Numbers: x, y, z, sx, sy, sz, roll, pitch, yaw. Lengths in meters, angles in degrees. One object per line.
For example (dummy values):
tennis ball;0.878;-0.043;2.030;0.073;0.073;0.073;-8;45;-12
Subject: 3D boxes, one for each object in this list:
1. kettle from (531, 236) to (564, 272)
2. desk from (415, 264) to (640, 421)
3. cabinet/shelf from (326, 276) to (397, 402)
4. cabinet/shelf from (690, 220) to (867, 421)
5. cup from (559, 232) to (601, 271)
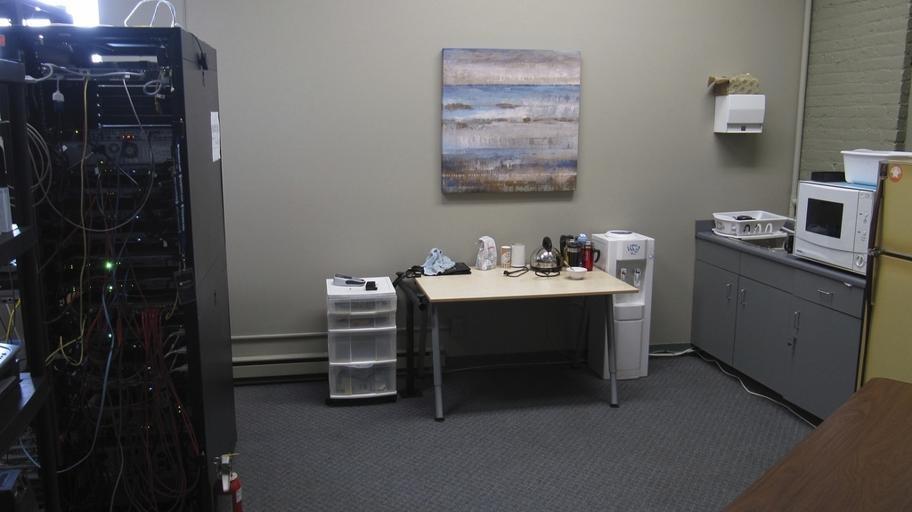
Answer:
kettle;0.830;-0.007;5.921;0.326;0.303;0.325;0;0;-2
desk;0.586;0.780;5.857;1.854;1.092;1.063;-4;12;-12
cabinet/shelf;-0.904;0.818;5.891;0.736;1.020;0.753;0;5;-7
cabinet/shelf;2.864;0.587;5.482;0.860;1.513;1.626;-1;7;-17
cup;1.171;-0.011;6.024;0.376;0.358;0.276;2;6;1
